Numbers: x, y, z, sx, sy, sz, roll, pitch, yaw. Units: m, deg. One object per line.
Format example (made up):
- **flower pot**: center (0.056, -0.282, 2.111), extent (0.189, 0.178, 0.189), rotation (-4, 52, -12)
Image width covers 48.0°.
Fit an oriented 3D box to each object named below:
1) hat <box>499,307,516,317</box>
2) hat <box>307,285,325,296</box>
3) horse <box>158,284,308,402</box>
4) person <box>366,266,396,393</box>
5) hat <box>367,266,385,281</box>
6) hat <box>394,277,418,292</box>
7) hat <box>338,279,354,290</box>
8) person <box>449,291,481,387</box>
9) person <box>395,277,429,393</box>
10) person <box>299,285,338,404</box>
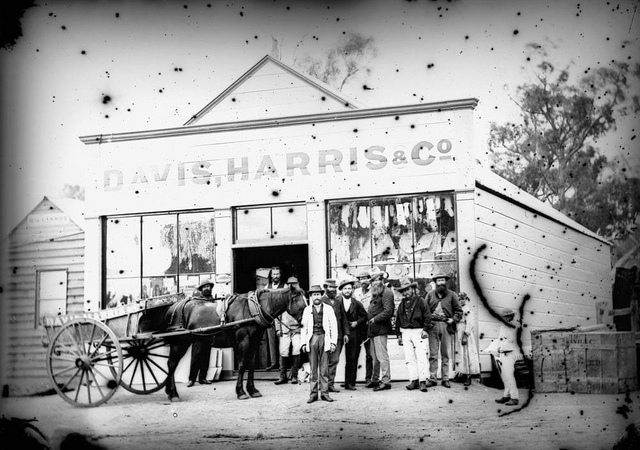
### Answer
- **hat**: center (3.351, 1.541, 12.890), extent (0.240, 0.172, 0.313), rotation (-3, -9, 14)
- **hat**: center (-0.086, 1.189, 13.380), extent (0.296, 0.213, 0.465), rotation (-2, -9, 6)
- **horse**: center (-1.724, 2.186, 13.464), extent (2.894, 2.213, 0.937), rotation (-2, -1, 6)
- **person**: center (1.110, 1.896, 13.453), extent (0.561, 2.303, 0.375), rotation (-3, -8, 16)
- **hat**: center (1.042, 0.895, 13.614), extent (0.297, 0.146, 0.211), rotation (-32, -6, 37)
- **hat**: center (1.594, 1.091, 13.446), extent (0.443, 0.271, 0.254), rotation (-3, -9, 12)
- **hat**: center (0.479, 1.107, 13.659), extent (0.288, 0.202, 0.239), rotation (-1, -8, 4)
- **person**: center (2.649, 2.068, 13.249), extent (0.560, 1.698, 0.321), rotation (-3, -8, 13)
- **person**: center (1.699, 2.045, 13.220), extent (0.633, 1.956, 0.276), rotation (-3, -8, 16)
- **person**: center (-0.012, 2.171, 12.932), extent (0.678, 1.942, 0.304), rotation (1, -8, -12)
